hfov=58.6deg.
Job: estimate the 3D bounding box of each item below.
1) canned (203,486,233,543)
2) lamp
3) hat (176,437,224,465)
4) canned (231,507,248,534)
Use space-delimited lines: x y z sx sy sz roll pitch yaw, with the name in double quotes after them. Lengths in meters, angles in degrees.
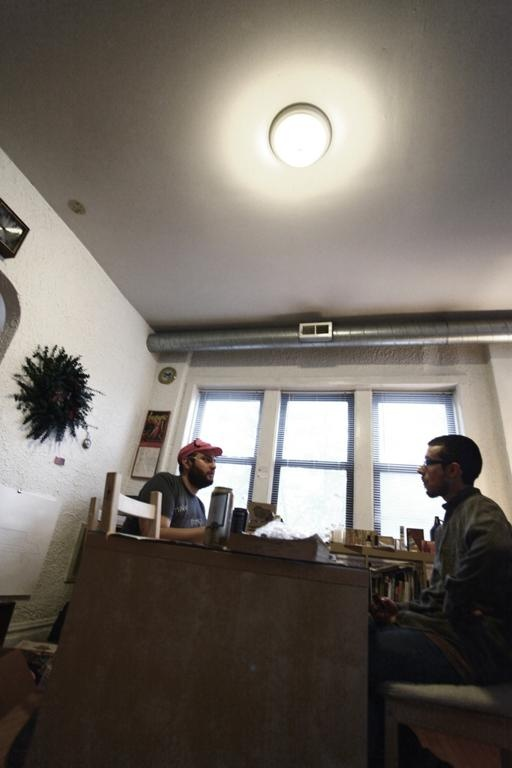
-0.104 0.371 1.266 0.067 0.155 0.098 9 -19 -3 "canned"
0.233 -1.348 2.436 0.264 0.081 0.249 3 -34 10 "lamp"
-0.422 0.518 3.323 0.252 0.124 0.179 -25 -13 4 "hat"
-0.055 0.421 1.391 0.048 0.068 0.075 8 -18 0 "canned"
